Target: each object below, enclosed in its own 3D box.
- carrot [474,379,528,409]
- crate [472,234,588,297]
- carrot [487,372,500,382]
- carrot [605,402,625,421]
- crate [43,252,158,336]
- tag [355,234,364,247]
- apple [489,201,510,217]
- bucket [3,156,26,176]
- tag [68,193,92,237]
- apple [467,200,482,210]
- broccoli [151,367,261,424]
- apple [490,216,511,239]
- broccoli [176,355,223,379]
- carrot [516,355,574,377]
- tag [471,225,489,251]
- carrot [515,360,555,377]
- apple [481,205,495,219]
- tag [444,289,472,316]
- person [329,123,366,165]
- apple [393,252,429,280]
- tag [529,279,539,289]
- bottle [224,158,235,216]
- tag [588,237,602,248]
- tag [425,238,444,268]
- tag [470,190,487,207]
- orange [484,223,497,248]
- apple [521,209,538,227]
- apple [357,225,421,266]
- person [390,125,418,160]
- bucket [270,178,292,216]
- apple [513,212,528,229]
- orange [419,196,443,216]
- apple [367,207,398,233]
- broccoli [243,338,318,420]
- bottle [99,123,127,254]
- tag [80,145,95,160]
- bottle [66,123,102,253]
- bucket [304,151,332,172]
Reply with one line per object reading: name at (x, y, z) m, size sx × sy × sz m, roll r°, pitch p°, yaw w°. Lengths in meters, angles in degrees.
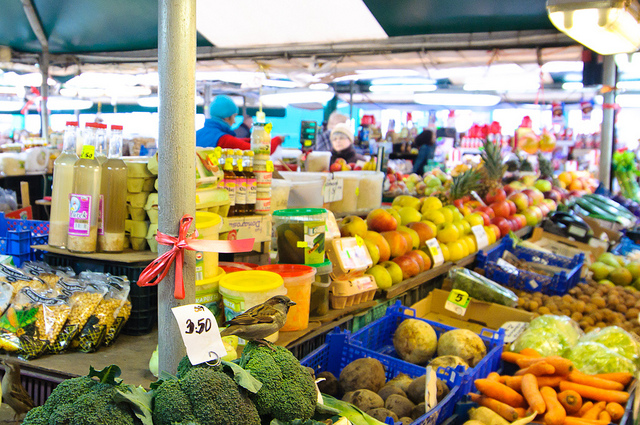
carrot at (1.019, 1.024, 2.647) m, size 0.379 × 0.121 × 0.110 m, roll 14°, pitch -13°, yaw -13°
crate at (2.056, 0.517, 4.558) m, size 0.862 × 0.335 × 0.992 m, roll 9°, pitch 10°, yaw 39°
carrot at (1.018, 0.966, 2.740) m, size 0.049 × 0.057 × 0.046 m, roll 15°, pitch 21°, yaw 1°
carrot at (1.629, 1.105, 2.566) m, size 0.077 × 0.074 × 0.099 m, roll -21°, pitch -30°, yaw 17°
crate at (-1.316, 0.456, 2.877) m, size 0.659 × 0.480 × 0.513 m, roll -11°, pitch 14°, yaw -38°
tag at (0.275, 0.201, 3.254) m, size 0.018 × 0.070 × 0.055 m, roll -13°, pitch -8°, yaw 26°
apple at (2.138, -0.042, 5.479) m, size 0.197 × 0.192 × 0.191 m, roll 16°, pitch 33°, yaw -57°
bucket at (-4.077, -0.623, 6.186) m, size 0.206 × 0.237 × 0.348 m, roll 1°, pitch 2°, yaw 11°
tag at (-1.401, 0.020, 2.697) m, size 0.159 × 0.254 × 0.062 m, roll 5°, pitch 8°, yaw 9°
apple at (1.834, -0.095, 5.471) m, size 0.128 × 0.144 × 0.120 m, roll 0°, pitch 43°, yaw -1°
broccoli at (-0.420, 0.702, 1.720) m, size 0.383 × 0.190 × 0.123 m, roll 3°, pitch 8°, yaw -4°
apple at (2.042, 0.165, 5.233) m, size 0.230 × 0.248 × 0.228 m, roll -7°, pitch 6°, yaw 6°
broccoli at (-0.480, 0.599, 1.832) m, size 0.140 × 0.068 × 0.099 m, roll -1°, pitch -3°, yaw -1°
carrot at (1.319, 0.909, 2.763) m, size 0.329 × 0.095 × 0.097 m, roll 2°, pitch 3°, yaw 14°
tag at (1.622, 0.252, 4.697) m, size 0.063 × 0.213 × 0.235 m, roll -13°, pitch -12°, yaw 39°
carrot at (1.250, 0.925, 2.735) m, size 0.243 × 0.061 × 0.086 m, roll -12°, pitch 17°, yaw 23°
apple at (1.904, 0.000, 5.255) m, size 0.127 × 0.087 × 0.159 m, roll 11°, pitch 9°, yaw 0°
tag at (1.019, 0.674, 3.427) m, size 0.193 × 0.179 × 0.051 m, roll 20°, pitch -4°, yaw 42°
person at (0.451, -1.271, 8.430) m, size 0.474 × 0.716 × 0.929 m, roll 1°, pitch 8°, yaw -13°
apple at (0.727, 0.401, 3.629) m, size 0.269 × 0.213 × 0.231 m, roll -18°, pitch 8°, yaw -37°
tag at (1.910, 0.643, 4.152) m, size 0.072 × 0.069 × 0.017 m, roll 35°, pitch -6°, yaw 0°
bottle at (-0.623, -0.174, 3.175) m, size 0.074 × 0.391 × 0.102 m, roll 0°, pitch 9°, yaw -22°
tag at (3.137, 0.349, 5.315) m, size 0.121 × 0.081 × 0.123 m, roll 0°, pitch 7°, yaw 3°
tag at (0.983, 0.337, 3.965) m, size 0.162 × 0.224 × 0.217 m, roll -8°, pitch 1°, yaw 17°
tag at (1.934, -0.164, 5.681) m, size 0.065 × 0.075 × 0.278 m, roll 29°, pitch 17°, yaw -49°
orange at (1.795, 0.256, 4.917) m, size 0.120 × 0.213 × 0.208 m, roll -25°, pitch -37°, yaw 20°
apple at (2.657, 0.079, 5.892) m, size 0.214 × 0.240 × 0.209 m, roll -3°, pitch 3°, yaw 20°
apple at (0.539, 0.238, 3.599) m, size 0.276 × 0.167 × 0.450 m, roll -9°, pitch 2°, yaw 28°
person at (2.180, -1.791, 11.967) m, size 0.630 × 0.842 × 1.622 m, roll 5°, pitch 8°, yaw 8°
bucket at (-0.316, -0.144, 3.781) m, size 0.162 × 0.233 × 0.301 m, roll 3°, pitch 8°, yaw -4°
apple at (2.422, 0.105, 5.636) m, size 0.144 × 0.165 × 0.142 m, roll -10°, pitch 28°, yaw -37°
orange at (1.068, -0.057, 4.537) m, size 0.164 × 0.213 × 0.157 m, roll 41°, pitch 36°, yaw -11°
apple at (0.486, 0.074, 3.784) m, size 0.209 × 0.196 × 0.201 m, roll 8°, pitch -3°, yaw -8°
broccoli at (-0.211, 0.735, 1.986) m, size 0.259 × 0.315 × 0.154 m, roll -26°, pitch -8°, yaw -38°
bottle at (-1.235, -0.133, 2.762) m, size 0.150 × 0.764 × 0.113 m, roll 5°, pitch 9°, yaw 9°
tag at (-1.333, -0.343, 2.674) m, size 0.078 × 0.082 × 0.076 m, roll 9°, pitch 1°, yaw 15°
bottle at (-1.386, -0.135, 2.709) m, size 0.209 × 0.767 × 0.164 m, roll 1°, pitch 9°, yaw -19°
bucket at (-0.039, -0.689, 6.236) m, size 0.330 × 0.286 × 0.317 m, roll 1°, pitch 11°, yaw 0°
